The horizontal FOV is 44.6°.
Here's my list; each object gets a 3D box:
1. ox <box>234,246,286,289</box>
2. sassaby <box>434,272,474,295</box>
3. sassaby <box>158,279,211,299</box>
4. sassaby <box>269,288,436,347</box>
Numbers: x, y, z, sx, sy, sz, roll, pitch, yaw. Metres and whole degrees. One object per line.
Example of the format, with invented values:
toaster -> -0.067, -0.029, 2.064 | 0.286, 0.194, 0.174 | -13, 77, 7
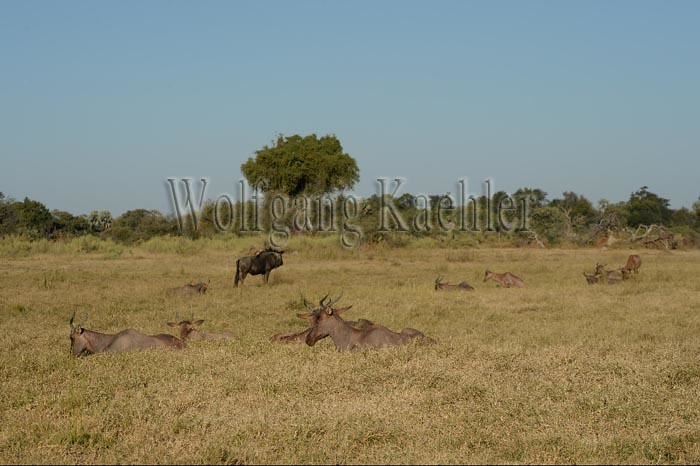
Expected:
ox -> -3.516, 1.279, 32.125 | 0.904, 1.124, 2.476 | 4, 7, 35
sassaby -> 3.738, 1.798, 30.455 | 1.533, 0.999, 0.555 | 2, -5, 5
sassaby -> -5.728, 1.934, 29.451 | 1.748, 1.033, 0.505 | -4, 21, -14
sassaby -> -0.020, 2.320, 22.856 | 3.837, 1.415, 1.106 | 0, 6, 5
